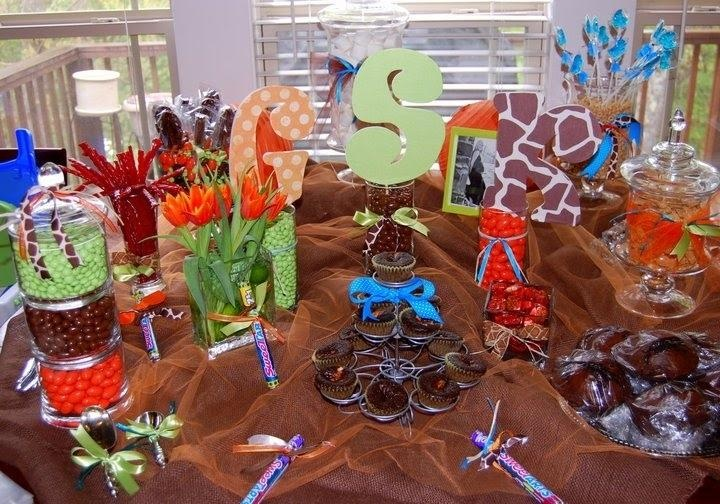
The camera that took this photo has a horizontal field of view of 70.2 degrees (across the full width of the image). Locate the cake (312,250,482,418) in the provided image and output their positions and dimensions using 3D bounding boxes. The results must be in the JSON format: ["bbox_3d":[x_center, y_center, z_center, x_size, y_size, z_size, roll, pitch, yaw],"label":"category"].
[{"bbox_3d":[0.080,0.172,1.097,0.373,0.277,0.283,4,18,16],"label":"cake"}]

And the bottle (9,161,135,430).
[{"bbox_3d":[-0.609,0.084,1.072,0.190,0.514,0.215,-10,19,-26],"label":"bottle"}]

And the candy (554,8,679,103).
[{"bbox_3d":[0.933,-0.747,1.898,0.337,0.380,0.365,12,39,21],"label":"candy"}]

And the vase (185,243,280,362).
[{"bbox_3d":[-0.314,0.104,1.243,0.144,0.241,0.191,25,31,34],"label":"vase"}]

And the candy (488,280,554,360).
[{"bbox_3d":[0.378,0.158,1.224,0.153,0.148,0.190,4,18,17],"label":"candy"}]

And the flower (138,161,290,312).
[{"bbox_3d":[-0.341,0.010,1.238,0.292,0.370,0.247,1,3,-5],"label":"flower"}]
